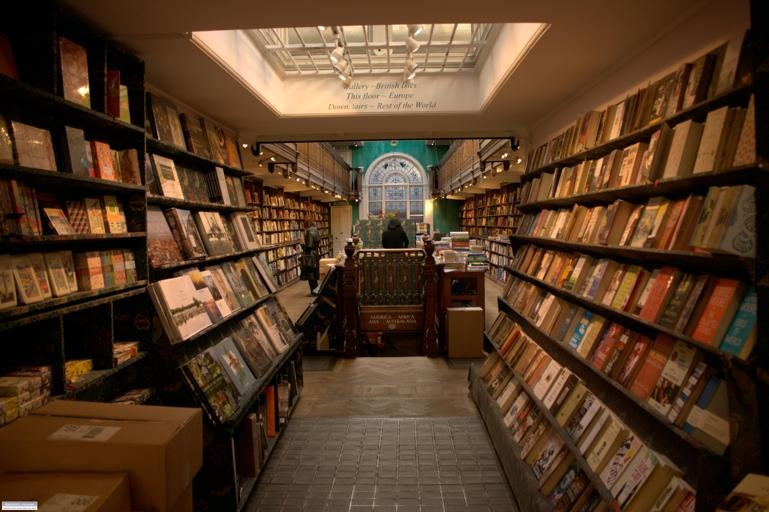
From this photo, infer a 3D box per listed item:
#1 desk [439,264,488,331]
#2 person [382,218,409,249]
[{"bbox_3d":[1.141,0.596,7.096,0.628,0.726,1.115,-3,-3,7],"label":"desk"},{"bbox_3d":[0.191,-0.415,8.977,0.495,0.598,1.008,0,14,5],"label":"person"}]
